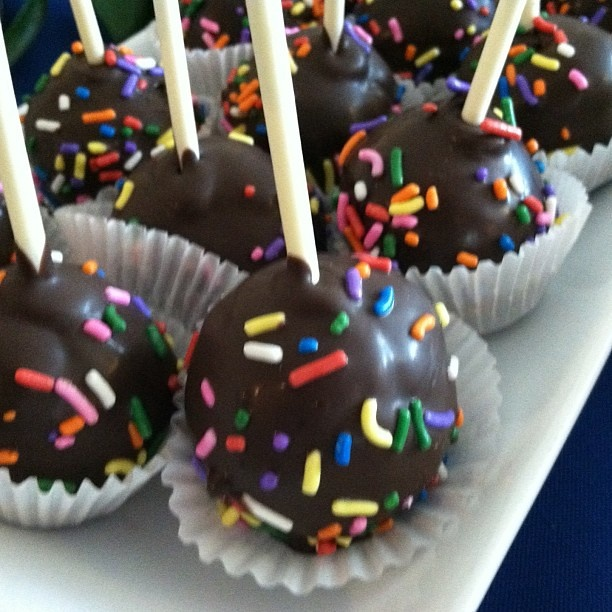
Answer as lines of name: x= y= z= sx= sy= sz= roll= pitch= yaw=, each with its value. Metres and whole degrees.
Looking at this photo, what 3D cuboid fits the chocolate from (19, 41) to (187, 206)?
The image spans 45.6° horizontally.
chocolate: x=-0.357 y=-0.309 z=1.307 sx=0.210 sy=0.140 sz=0.306 roll=4 pitch=84 yaw=7
